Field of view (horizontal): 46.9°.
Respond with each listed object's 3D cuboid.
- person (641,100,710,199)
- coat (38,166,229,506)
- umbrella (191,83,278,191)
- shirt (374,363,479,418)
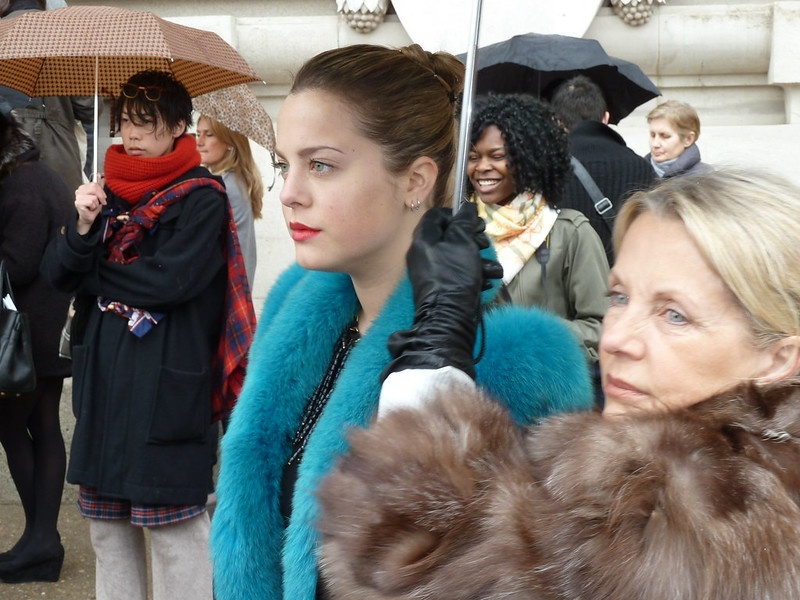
[{"bbox_3d":[1.779,-1.006,5.977,0.394,0.512,0.571,-13,22,-29],"label":"person"},{"bbox_3d":[-1.063,0.201,3.888,0.756,1.301,0.593,-1,14,-20],"label":"coat"},{"bbox_3d":[-0.837,-0.945,4.942,0.368,0.136,0.355,23,-6,42],"label":"umbrella"},{"bbox_3d":[0.052,0.202,2.098,0.174,0.119,0.128,-5,-30,27],"label":"shirt"}]
